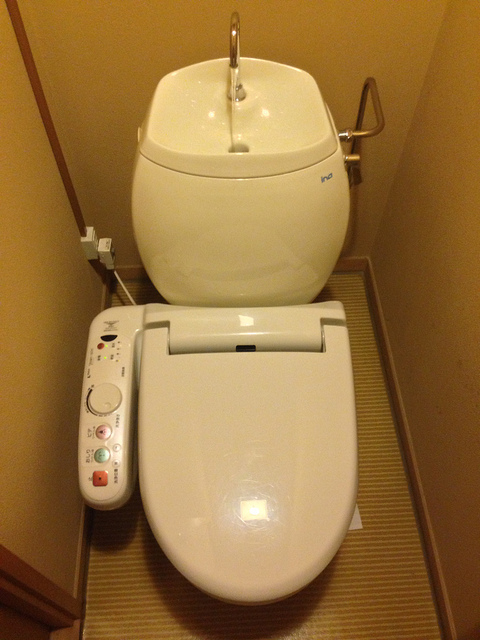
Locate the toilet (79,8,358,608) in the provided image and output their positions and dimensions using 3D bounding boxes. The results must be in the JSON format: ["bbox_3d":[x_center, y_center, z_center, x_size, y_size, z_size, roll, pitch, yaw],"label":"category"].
[{"bbox_3d":[0.002,-0.084,1.248,0.413,1.032,0.526,-2,73,1],"label":"toilet"}]
